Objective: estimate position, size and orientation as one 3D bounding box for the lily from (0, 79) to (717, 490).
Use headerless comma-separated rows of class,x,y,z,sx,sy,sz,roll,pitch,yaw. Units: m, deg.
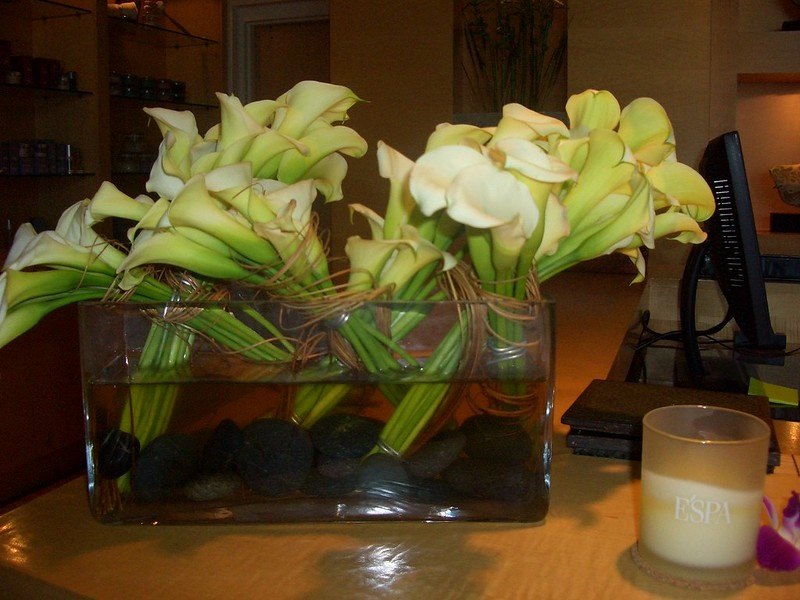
lily,0.017,-0.052,0.565,0.570,0.188,0.331,-9,14,-24
